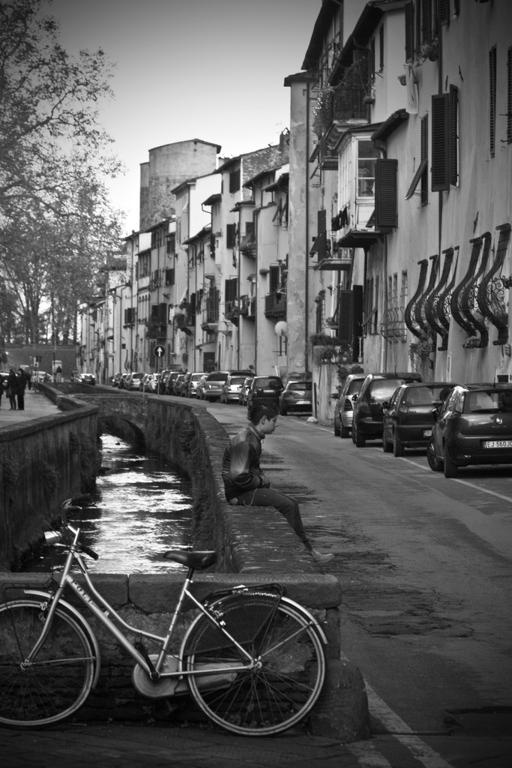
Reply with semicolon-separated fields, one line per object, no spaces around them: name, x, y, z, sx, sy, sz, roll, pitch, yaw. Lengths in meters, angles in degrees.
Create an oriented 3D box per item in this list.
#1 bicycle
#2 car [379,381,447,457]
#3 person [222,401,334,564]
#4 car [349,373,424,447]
bicycle;-0.357;1.073;4.775;1.478;1.046;0.643;2;-3;7
car;3.427;0.666;23.359;0.913;0.932;1.669;-1;6;-5
person;0.183;0.783;8.664;0.784;1.300;0.562;-2;0;4
car;3.061;0.459;27.011;1.029;1.204;2.130;-1;6;1
